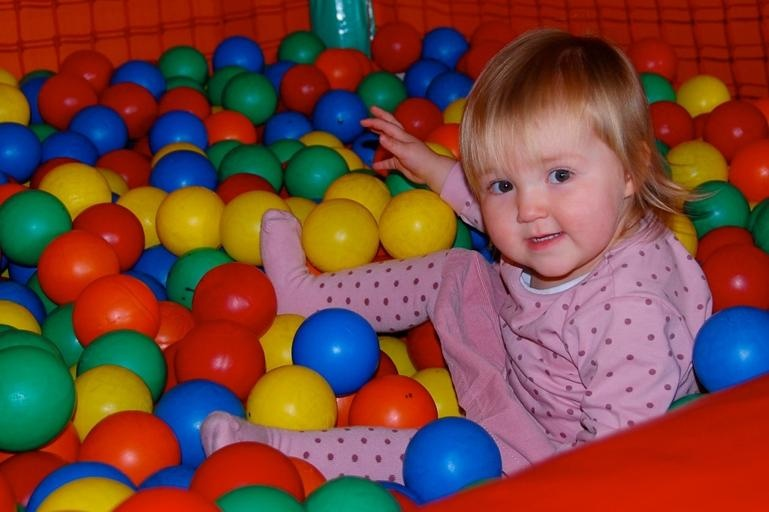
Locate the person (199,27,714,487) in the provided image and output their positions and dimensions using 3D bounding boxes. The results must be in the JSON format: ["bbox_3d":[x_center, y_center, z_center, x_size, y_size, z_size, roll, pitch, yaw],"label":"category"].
[{"bbox_3d":[0.235,0.211,2.495,1.393,1.127,1.538,-8,42,-5],"label":"person"}]
